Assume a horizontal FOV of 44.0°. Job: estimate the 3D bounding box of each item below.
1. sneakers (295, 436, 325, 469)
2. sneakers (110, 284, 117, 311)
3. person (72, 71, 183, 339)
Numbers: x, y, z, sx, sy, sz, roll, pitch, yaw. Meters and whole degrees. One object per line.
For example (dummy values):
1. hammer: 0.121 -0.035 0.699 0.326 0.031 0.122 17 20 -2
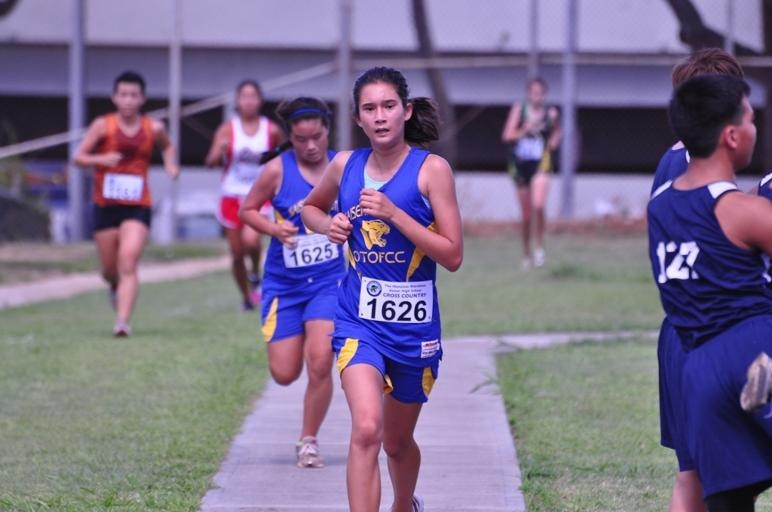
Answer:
1. sneakers: -0.456 1.168 5.662 0.123 0.141 0.331 0 -8 -7
2. sneakers: -1.600 0.246 5.626 0.041 0.136 0.090 -3 6 -17
3. person: -1.543 -0.325 5.717 0.370 1.519 0.569 1 6 19
